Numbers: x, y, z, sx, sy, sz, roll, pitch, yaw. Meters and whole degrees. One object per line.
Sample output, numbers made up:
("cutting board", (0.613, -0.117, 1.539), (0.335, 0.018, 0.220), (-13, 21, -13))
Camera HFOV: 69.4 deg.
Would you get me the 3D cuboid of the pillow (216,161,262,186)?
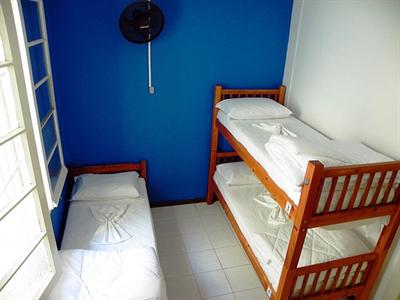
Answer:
("pillow", (0.463, 0.285, 3.721), (0.341, 0.103, 0.316), (0, 29, -26))
